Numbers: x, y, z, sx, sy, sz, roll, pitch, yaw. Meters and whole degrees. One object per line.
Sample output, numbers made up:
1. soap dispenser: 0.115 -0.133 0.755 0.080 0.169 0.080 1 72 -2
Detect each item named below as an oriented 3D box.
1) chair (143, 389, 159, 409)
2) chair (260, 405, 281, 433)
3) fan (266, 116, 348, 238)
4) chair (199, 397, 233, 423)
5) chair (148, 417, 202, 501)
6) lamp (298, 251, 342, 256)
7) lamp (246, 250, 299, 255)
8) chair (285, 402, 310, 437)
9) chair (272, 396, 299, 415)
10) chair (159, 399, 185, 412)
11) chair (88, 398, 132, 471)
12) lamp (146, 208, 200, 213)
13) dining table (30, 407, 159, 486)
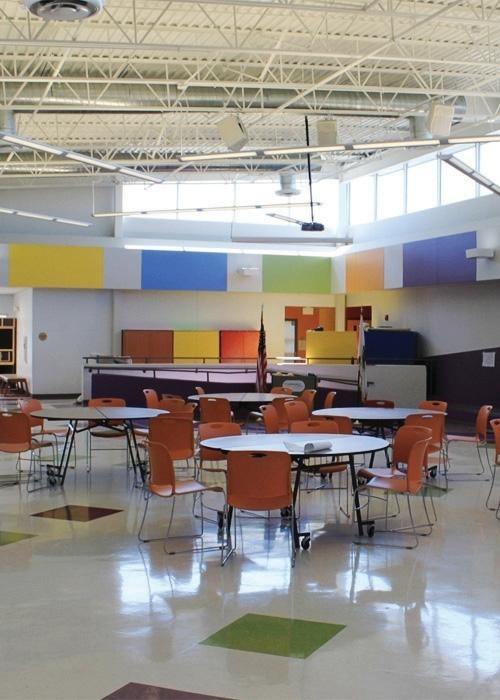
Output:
1. chair: -1.421 0.706 9.070 0.151 0.256 0.274 -4 9 -17
2. chair: 0.224 0.804 7.017 0.176 0.335 0.463 -2 8 0
3. fan: 1.328 -4.160 15.217 1.291 2.793 2.695 3 2 29
4. chair: -0.430 0.745 7.877 0.284 0.479 0.359 1 -1 10
5. chair: -0.727 0.851 5.952 0.440 0.694 0.487 -1 1 -7
6. lamp: 2.008 -2.800 18.525 1.149 0.195 0.377 -1 8 1
7. lamp: 0.634 -2.817 18.241 1.640 0.209 0.374 -5 9 -22
8. chair: 0.508 0.792 7.323 0.313 0.452 0.336 -1 4 -18
9. chair: 0.506 0.735 8.349 0.246 0.373 0.262 0 -4 -12
10. chair: -0.971 0.691 7.877 0.190 0.129 0.188 0 1 5
11. chair: -1.801 1.108 8.082 0.714 1.242 0.768 2 -10 -13
12. lamp: -2.076 -3.661 16.531 0.954 0.138 0.052 0 44 0
13. dining table: -1.731 0.883 7.198 1.235 0.671 1.108 3 0 -8
